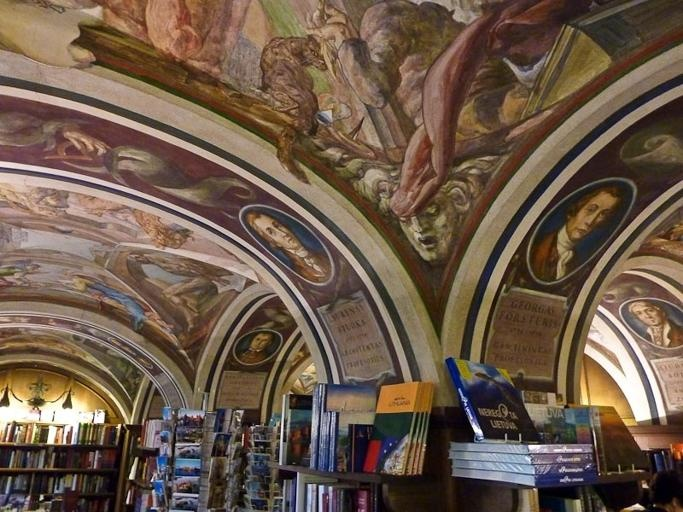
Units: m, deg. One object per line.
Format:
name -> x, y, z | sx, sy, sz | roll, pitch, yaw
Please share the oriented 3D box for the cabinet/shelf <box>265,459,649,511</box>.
cabinet/shelf -> 0.694, 1.796, 4.248 | 2.897, 0.382, 1.032 | -10, -24, 22
